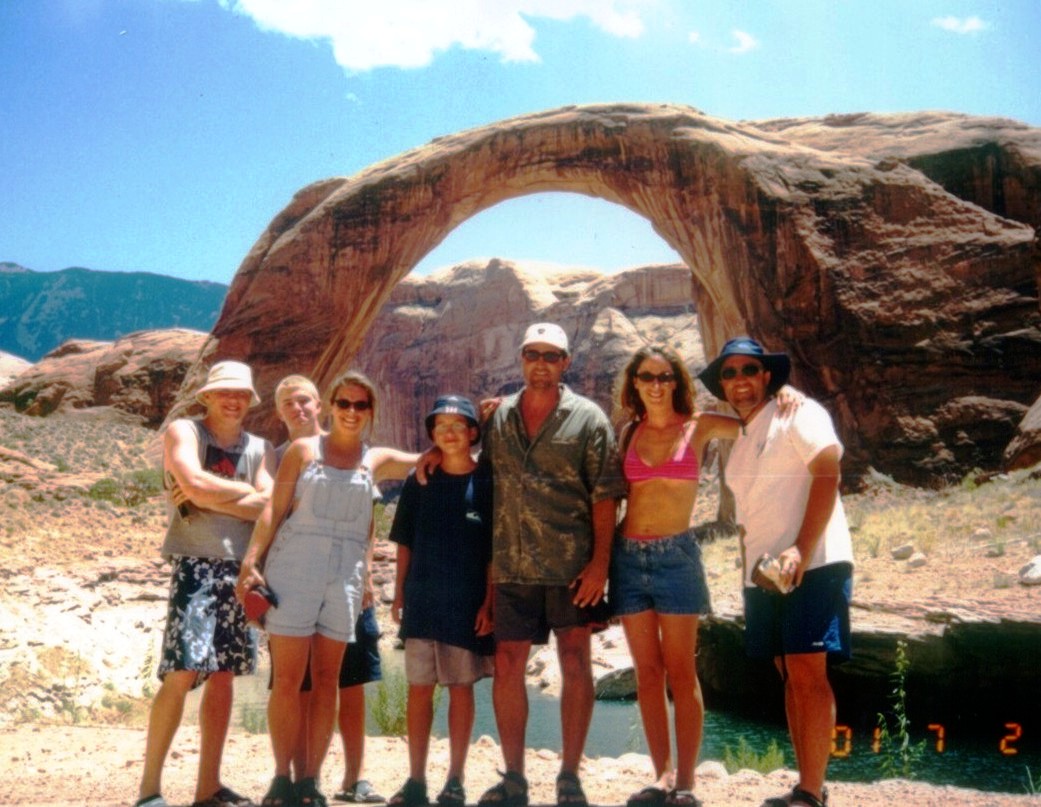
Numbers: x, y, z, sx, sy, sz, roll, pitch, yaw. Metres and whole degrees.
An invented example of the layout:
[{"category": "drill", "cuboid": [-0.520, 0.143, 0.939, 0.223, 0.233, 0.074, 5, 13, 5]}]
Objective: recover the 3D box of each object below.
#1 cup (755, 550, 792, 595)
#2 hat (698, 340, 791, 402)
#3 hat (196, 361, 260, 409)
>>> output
[{"category": "cup", "cuboid": [1.807, 1.211, 7.613, 0.279, 0.231, 0.256, 11, 8, -2]}, {"category": "hat", "cuboid": [1.954, -0.289, 9.061, 0.631, 0.280, 0.737, -2, -52, 8]}, {"category": "hat", "cuboid": [-2.289, -0.192, 8.431, 0.351, 0.247, 0.457, 4, -25, -6]}]
